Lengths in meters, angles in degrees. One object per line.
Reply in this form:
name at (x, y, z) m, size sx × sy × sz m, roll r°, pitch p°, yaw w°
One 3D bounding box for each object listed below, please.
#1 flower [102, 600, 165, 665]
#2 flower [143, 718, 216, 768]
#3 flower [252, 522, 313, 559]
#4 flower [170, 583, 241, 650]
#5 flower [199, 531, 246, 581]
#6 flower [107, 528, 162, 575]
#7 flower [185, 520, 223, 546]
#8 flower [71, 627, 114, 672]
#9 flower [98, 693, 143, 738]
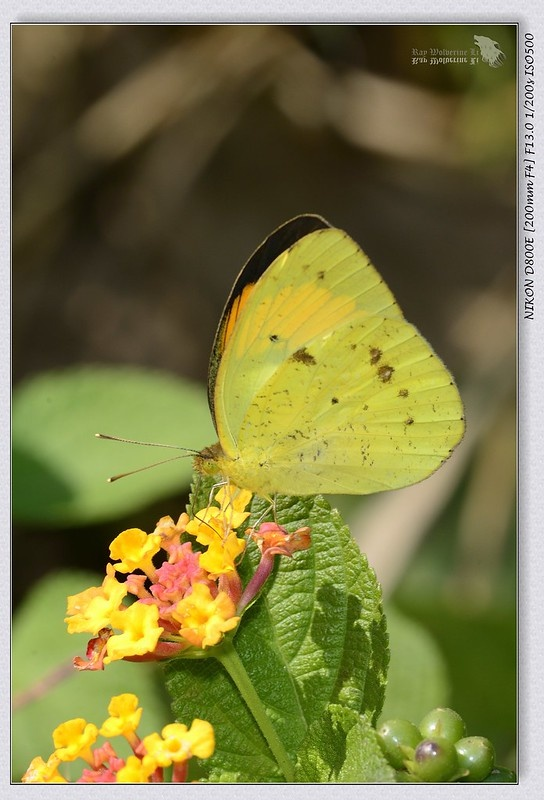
flower at (-0.295, 0.512, 1.786) m, size 0.120 × 0.098 × 0.128 m, roll 0°, pitch 16°, yaw 12°
flower at (-0.196, 0.714, 1.702) m, size 0.115 × 0.034 × 0.108 m, roll -3°, pitch 23°, yaw 10°
flower at (0.026, 0.344, 2.002) m, size 0.097 × 0.112 × 0.056 m, roll -31°, pitch 63°, yaw 19°
flower at (-0.147, 0.476, 1.801) m, size 0.142 × 0.121 × 0.109 m, roll -5°, pitch 16°, yaw -4°
flower at (-0.113, 0.372, 1.955) m, size 0.095 × 0.085 × 0.094 m, roll 14°, pitch 56°, yaw 42°
flower at (-0.319, 0.384, 2.004) m, size 0.114 × 0.052 × 0.112 m, roll -45°, pitch 60°, yaw -10°
flower at (-0.162, 0.323, 1.981) m, size 0.066 × 0.026 × 0.063 m, roll 17°, pitch 24°, yaw -28°
flower at (-0.398, 0.579, 1.875) m, size 0.099 × 0.040 × 0.099 m, roll -37°, pitch 19°, yaw 43°
flower at (-0.322, 0.687, 1.777) m, size 0.098 × 0.045 × 0.096 m, roll -18°, pitch 46°, yaw 17°
